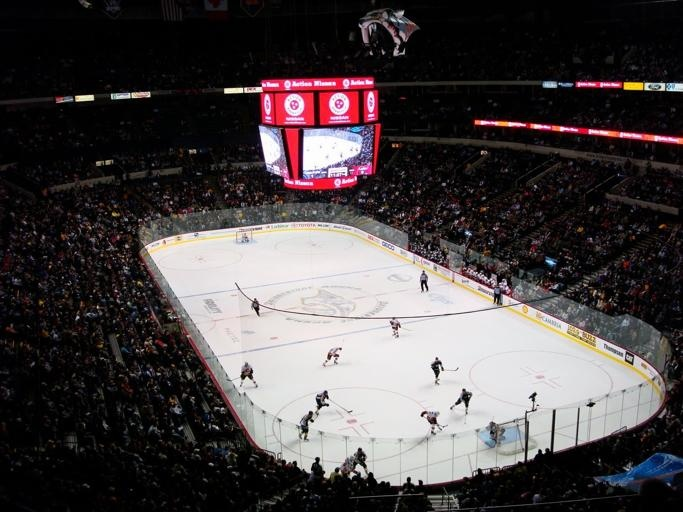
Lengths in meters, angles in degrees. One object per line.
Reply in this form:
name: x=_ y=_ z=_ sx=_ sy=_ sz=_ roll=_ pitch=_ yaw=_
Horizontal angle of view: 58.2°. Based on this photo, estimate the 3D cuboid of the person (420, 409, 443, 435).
person: x=3.002 y=5.472 z=20.414 sx=0.844 sy=0.238 sz=0.827 roll=3 pitch=16 yaw=-3

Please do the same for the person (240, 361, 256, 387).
person: x=-3.578 y=4.562 z=23.422 sx=0.954 sy=1.628 sz=0.573 roll=-1 pitch=61 yaw=-10
